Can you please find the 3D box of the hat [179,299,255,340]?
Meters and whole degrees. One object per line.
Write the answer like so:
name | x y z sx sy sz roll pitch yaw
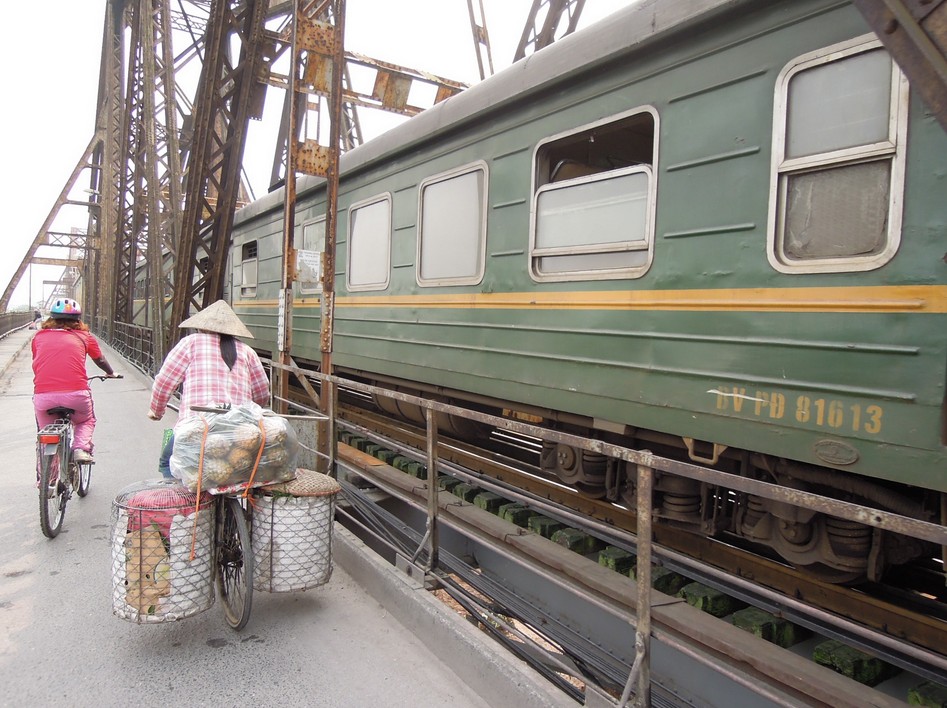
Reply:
hat | -1.810 -0.248 4.385 0.345 0.162 0.351 17 5 25

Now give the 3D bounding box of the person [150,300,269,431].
person | -1.840 0.060 4.498 0.543 0.864 0.809 -12 -13 40
